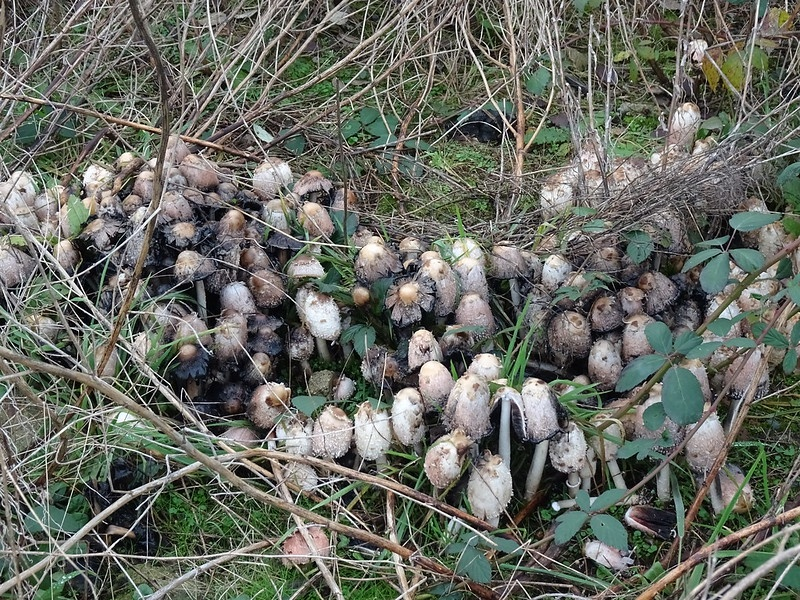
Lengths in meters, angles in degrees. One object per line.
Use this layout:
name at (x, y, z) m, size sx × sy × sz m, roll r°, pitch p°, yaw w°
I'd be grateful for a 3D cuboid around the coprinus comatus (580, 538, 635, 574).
coprinus comatus at (0.804, 0.979, 2.816) m, size 0.161 × 0.042 × 0.103 m, roll 29°, pitch 85°, yaw 24°

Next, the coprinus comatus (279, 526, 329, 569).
coprinus comatus at (-0.370, 0.946, 2.787) m, size 0.186 × 0.069 × 0.184 m, roll 3°, pitch 77°, yaw 1°

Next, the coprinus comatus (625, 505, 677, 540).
coprinus comatus at (0.990, 0.864, 2.883) m, size 0.173 × 0.059 × 0.103 m, roll 15°, pitch 72°, yaw 13°
